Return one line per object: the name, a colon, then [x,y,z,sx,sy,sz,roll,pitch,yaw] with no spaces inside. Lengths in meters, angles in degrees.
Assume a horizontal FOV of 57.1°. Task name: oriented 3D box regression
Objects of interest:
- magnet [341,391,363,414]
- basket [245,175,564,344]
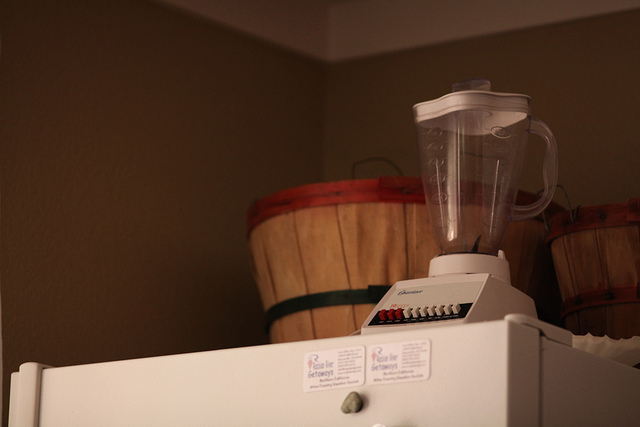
magnet: [0.051,0.308,0.953,0.028,0.030,0.015,8,-18,16]
basket: [0.171,0.182,1.448,0.545,0.474,0.603,6,-20,-17]
